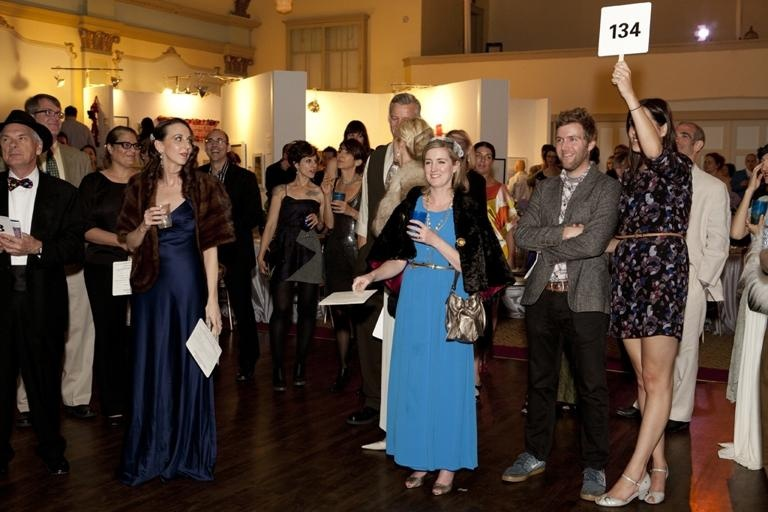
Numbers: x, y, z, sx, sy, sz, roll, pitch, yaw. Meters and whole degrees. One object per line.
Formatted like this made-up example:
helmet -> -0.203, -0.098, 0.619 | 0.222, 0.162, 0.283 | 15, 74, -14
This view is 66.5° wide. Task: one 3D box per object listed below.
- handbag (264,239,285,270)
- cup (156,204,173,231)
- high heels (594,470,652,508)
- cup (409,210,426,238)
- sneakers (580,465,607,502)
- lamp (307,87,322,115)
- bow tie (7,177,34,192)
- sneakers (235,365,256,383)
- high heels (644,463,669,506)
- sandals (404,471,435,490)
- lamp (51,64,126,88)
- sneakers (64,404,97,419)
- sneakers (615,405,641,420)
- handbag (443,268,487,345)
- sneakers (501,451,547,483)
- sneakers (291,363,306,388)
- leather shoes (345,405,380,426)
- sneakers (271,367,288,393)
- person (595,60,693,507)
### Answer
handbag -> -1.017, -0.010, 5.544 | 0.197, 0.277, 0.095 | 2, -10, 36
cup -> -1.363, -0.249, 3.621 | 0.078, 0.139, 0.090 | -2, 7, -23
high heels -> 1.488, 1.429, 3.643 | 0.349, 0.183, 0.167 | 0, 1, -21
cup -> 0.225, -0.192, 3.663 | 0.148, 0.187, 0.200 | 2, 7, 10
sneakers -> 1.308, 1.442, 3.666 | 0.092, 0.107, 0.259 | -1, -1, 20
lamp -> -1.696, -3.730, 14.012 | 0.426, 0.699, 0.410 | 8, 14, 28
bow tie -> -2.448, -0.494, 3.946 | 0.147, 0.091, 0.080 | 1, 7, 5
sneakers -> -1.359, 1.174, 5.754 | 0.190, 0.202, 0.103 | 4, 3, -1
high heels -> 1.709, 1.450, 3.672 | 0.095, 0.136, 0.326 | -5, -1, 29
sandals -> 0.198, 1.460, 3.791 | 0.065, 0.057, 0.194 | -3, -8, 26
lamp -> -7.602, -4.658, 15.038 | 1.719, 0.686, 0.593 | -4, 8, -35
sneakers -> -2.524, 1.301, 4.867 | 0.242, 0.112, 0.104 | 4, 4, 17
sneakers -> 2.077, 1.342, 4.975 | 0.235, 0.103, 0.090 | 3, 5, -7
handbag -> 0.496, 0.331, 3.577 | 0.237, 0.441, 0.159 | 1, 6, 9
sneakers -> 0.934, 1.391, 3.943 | 0.335, 0.165, 0.136 | -5, 7, -36
sneakers -> -0.821, 1.170, 5.576 | 0.080, 0.186, 0.260 | 1, -1, 0
leather shoes -> -0.177, 1.319, 4.770 | 0.265, 0.126, 0.113 | 2, -1, -14
sneakers -> -0.994, 1.189, 5.539 | 0.180, 0.245, 0.558 | 1, -2, -10
person -> 1.586, 0.190, 3.554 | 0.525, 2.696, 0.413 | 2, 6, 13
